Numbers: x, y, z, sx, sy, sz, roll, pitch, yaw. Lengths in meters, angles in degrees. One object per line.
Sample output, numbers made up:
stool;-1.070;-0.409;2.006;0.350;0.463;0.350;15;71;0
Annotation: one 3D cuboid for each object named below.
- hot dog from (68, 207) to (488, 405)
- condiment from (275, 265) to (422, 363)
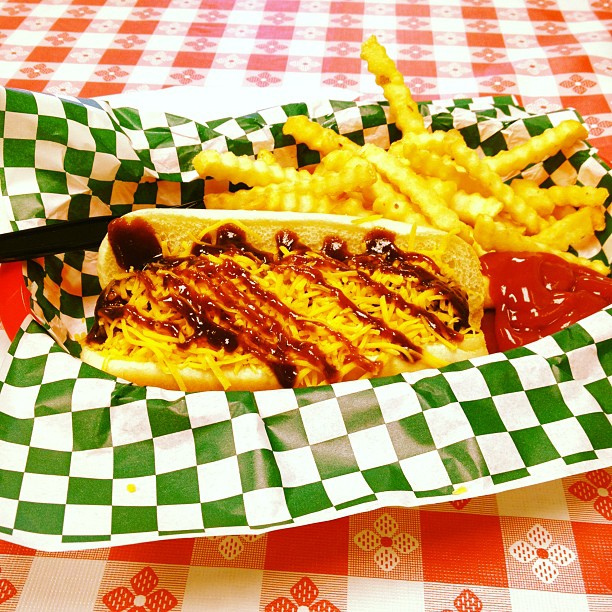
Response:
hot dog;-0.060;-0.019;1.735;1.274;0.311;0.465;0;68;0
condiment;0.109;0.033;1.688;0.459;0.048;0.072;31;98;2
